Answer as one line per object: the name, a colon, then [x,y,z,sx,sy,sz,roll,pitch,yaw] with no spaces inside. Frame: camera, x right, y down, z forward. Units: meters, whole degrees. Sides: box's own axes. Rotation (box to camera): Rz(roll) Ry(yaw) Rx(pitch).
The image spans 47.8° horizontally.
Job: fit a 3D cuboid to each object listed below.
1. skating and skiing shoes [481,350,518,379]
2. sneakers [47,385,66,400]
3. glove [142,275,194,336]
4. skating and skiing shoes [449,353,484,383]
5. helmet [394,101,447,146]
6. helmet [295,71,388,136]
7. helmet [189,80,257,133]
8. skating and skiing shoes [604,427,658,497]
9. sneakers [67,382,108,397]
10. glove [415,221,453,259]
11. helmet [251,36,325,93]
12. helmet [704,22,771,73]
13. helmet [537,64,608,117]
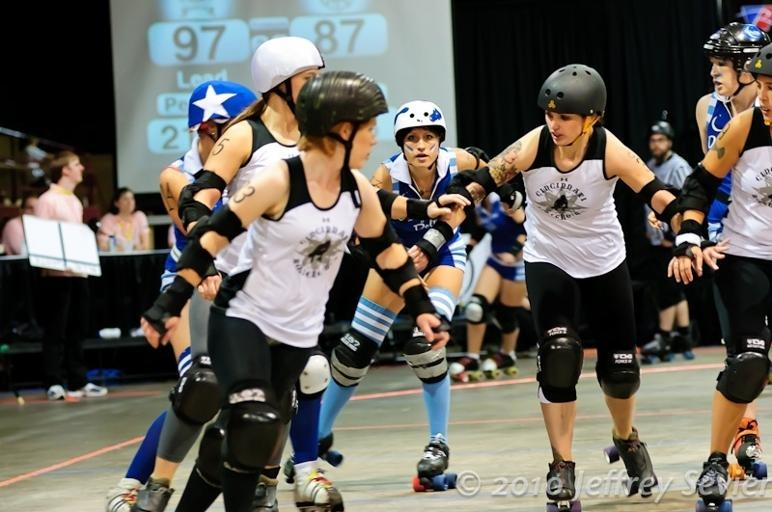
skating and skiing shoes: [1.354,1.310,10.459,0.420,0.300,0.236,4,-7,-29]
sneakers: [-3.727,1.544,9.880,0.129,0.143,0.189,1,3,-22]
glove: [-1.117,0.278,4.690,0.202,0.325,0.111,40,-5,41]
skating and skiing shoes: [0.945,1.329,10.278,0.394,0.294,0.232,1,0,-2]
helmet: [0.241,-1.010,6.498,0.268,0.365,0.361,-2,33,0]
helmet: [-0.232,-0.781,4.686,0.400,0.358,0.331,-18,10,3]
helmet: [-1.084,-1.006,5.871,0.403,0.299,0.314,-10,-3,-11]
skating and skiing shoes: [1.661,1.355,5.840,0.190,0.282,0.562,0,24,-6]
sneakers: [-3.466,1.568,10.184,0.447,0.209,0.174,0,-3,-12]
glove: [0.325,-0.116,5.801,0.286,0.169,0.122,-47,-15,-27]
helmet: [-0.608,-1.185,5.482,0.380,0.344,0.317,-4,14,8]
helmet: [2.495,-1.505,6.250,0.429,0.404,0.372,5,6,17]
helmet: [1.189,-1.021,5.580,0.365,0.352,0.324,-1,3,31]
